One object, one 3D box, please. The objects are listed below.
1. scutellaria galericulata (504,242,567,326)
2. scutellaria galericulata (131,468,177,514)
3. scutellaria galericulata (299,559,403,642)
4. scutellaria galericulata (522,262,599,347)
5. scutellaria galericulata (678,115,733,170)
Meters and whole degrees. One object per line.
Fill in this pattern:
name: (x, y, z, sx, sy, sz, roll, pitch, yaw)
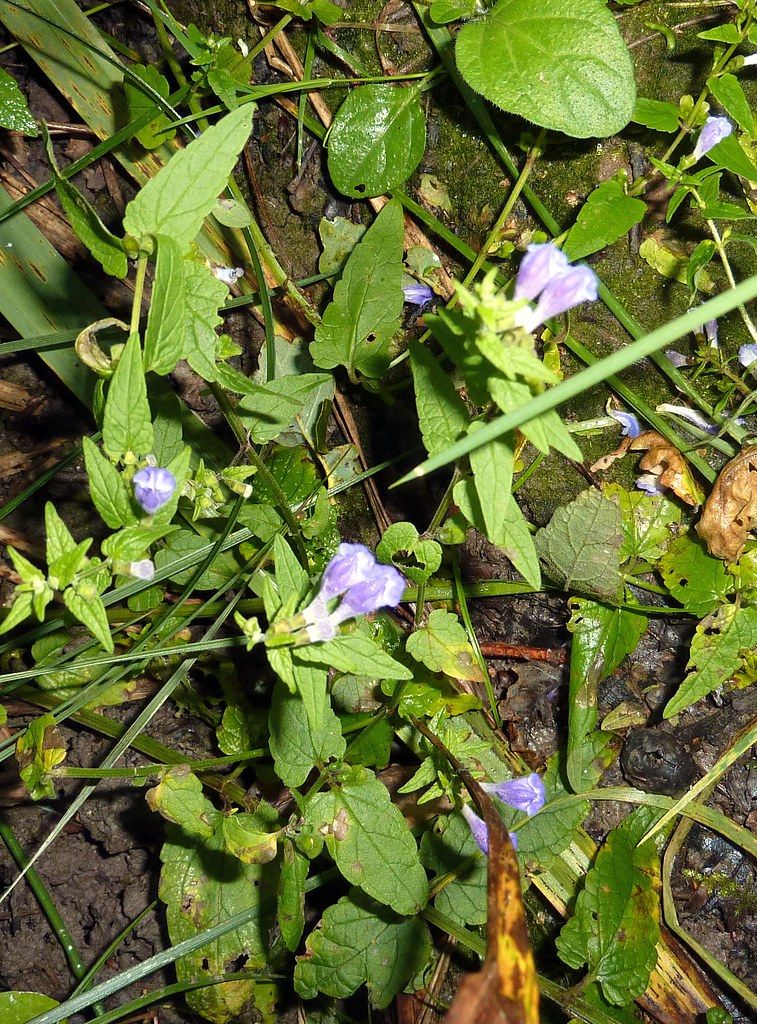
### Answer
scutellaria galericulata: (0.220, -0.315, 1.276, 0.063, 0.099, 0.072, 12, 48, -4)
scutellaria galericulata: (-0.345, -0.036, 1.431, 0.074, 0.087, 0.064, 11, 89, -10)
scutellaria galericulata: (-0.050, 0.156, 1.617, 0.118, 0.184, 0.107, 25, 55, -28)
scutellaria galericulata: (0.249, -0.295, 1.341, 0.070, 0.144, 0.044, 47, 65, 1)
scutellaria galericulata: (0.656, -0.733, 1.868, 0.059, 0.120, 0.028, 30, 65, 11)
